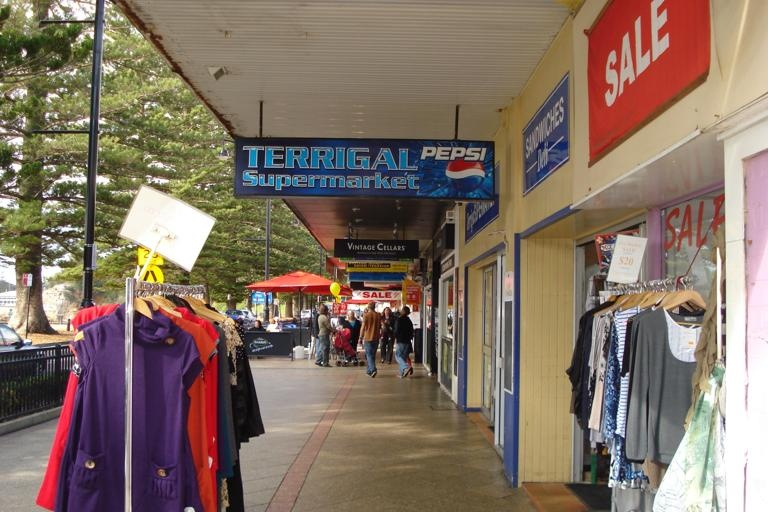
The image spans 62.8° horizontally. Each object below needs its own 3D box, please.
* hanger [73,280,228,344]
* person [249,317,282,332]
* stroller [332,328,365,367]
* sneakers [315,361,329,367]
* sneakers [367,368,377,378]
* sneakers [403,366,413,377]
[{"bbox_3d":[-1.902,0.379,5.019,0.646,0.393,1.056,0,-3,16],"label":"hanger"},{"bbox_3d":[-4.418,2.651,23.613,1.182,0.443,1.201,0,-5,-6],"label":"person"},{"bbox_3d":[-1.114,2.950,20.680,1.123,1.561,1.051,0,-1,-1],"label":"stroller"},{"bbox_3d":[-1.891,3.312,19.388,0.431,0.191,0.151,-3,-6,7],"label":"sneakers"},{"bbox_3d":[-0.304,3.054,16.535,0.226,0.218,0.370,2,-3,-6],"label":"sneakers"},{"bbox_3d":[0.636,3.003,16.490,0.209,0.277,0.695,1,-3,16],"label":"sneakers"}]
